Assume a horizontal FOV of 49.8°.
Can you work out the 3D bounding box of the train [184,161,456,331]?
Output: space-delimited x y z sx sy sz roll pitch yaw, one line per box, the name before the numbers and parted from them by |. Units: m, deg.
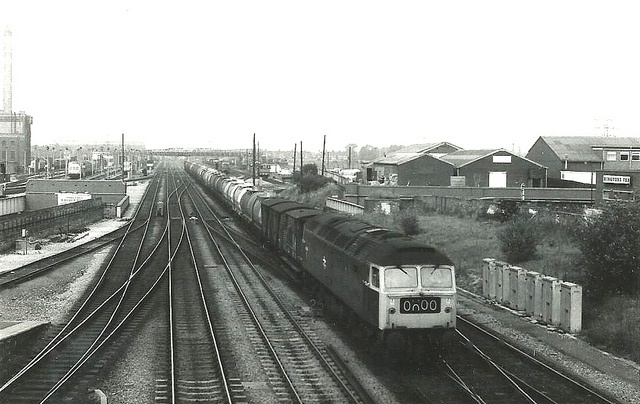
train | -0.826 1.395 41.904 4.286 3.240 28.059 -5 13 -20
